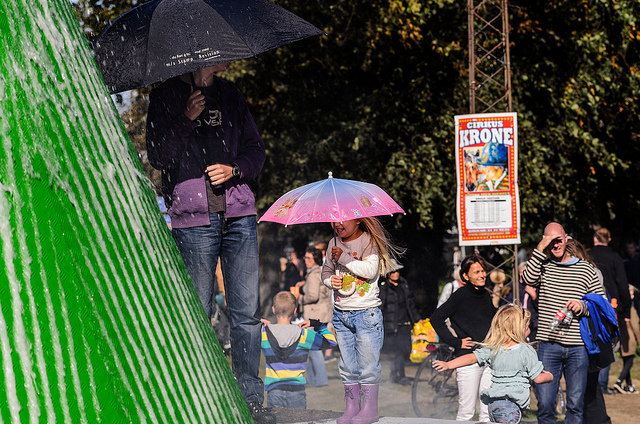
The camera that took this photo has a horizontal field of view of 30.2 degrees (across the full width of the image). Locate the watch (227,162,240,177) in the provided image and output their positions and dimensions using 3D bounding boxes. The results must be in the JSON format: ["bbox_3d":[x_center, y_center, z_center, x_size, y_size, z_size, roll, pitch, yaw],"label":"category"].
[{"bbox_3d":[-1.020,-0.497,14.007,0.114,0.125,0.109,12,-3,-31],"label":"watch"}]

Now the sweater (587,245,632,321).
[{"bbox_3d":[4.560,1.055,18.741,0.494,1.336,0.616,6,-17,-27],"label":"sweater"}]

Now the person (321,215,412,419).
[{"bbox_3d":[0.488,1.352,15.362,0.845,2.600,0.561,0,-4,0],"label":"person"}]

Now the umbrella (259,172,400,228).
[{"bbox_3d":[0.127,-0.180,16.350,1.808,0.784,1.921,-2,5,28],"label":"umbrella"}]

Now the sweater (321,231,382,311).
[{"bbox_3d":[0.439,0.768,15.593,0.934,1.245,0.745,-14,-25,32],"label":"sweater"}]
